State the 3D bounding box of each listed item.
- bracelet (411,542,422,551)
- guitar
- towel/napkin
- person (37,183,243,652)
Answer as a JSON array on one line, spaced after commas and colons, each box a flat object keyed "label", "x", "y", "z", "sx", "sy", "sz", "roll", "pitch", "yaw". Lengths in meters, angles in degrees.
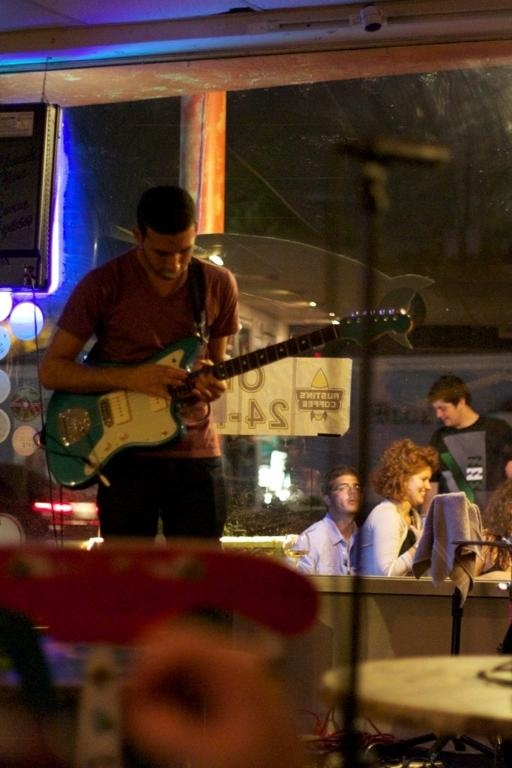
[{"label": "bracelet", "x": 0.574, "y": 0.579, "z": 2.817, "sx": 0.009, "sy": 0.033, "sz": 0.035, "roll": 24, "pitch": -22, "yaw": -4}, {"label": "guitar", "x": -0.055, "y": 0.040, "z": 2.435, "sx": 0.744, "sy": 0.239, "sz": 0.105, "roll": -14, "pitch": -15, "yaw": 3}, {"label": "towel/napkin", "x": 0.661, "y": 0.560, "z": 2.726, "sx": 0.247, "sy": 0.346, "sz": 0.235, "roll": 1, "pitch": 4, "yaw": 15}, {"label": "person", "x": -0.321, "y": -0.064, "z": 2.133, "sx": 0.543, "sy": 0.946, "sz": 0.388, "roll": 0, "pitch": 4, "yaw": -2}]
